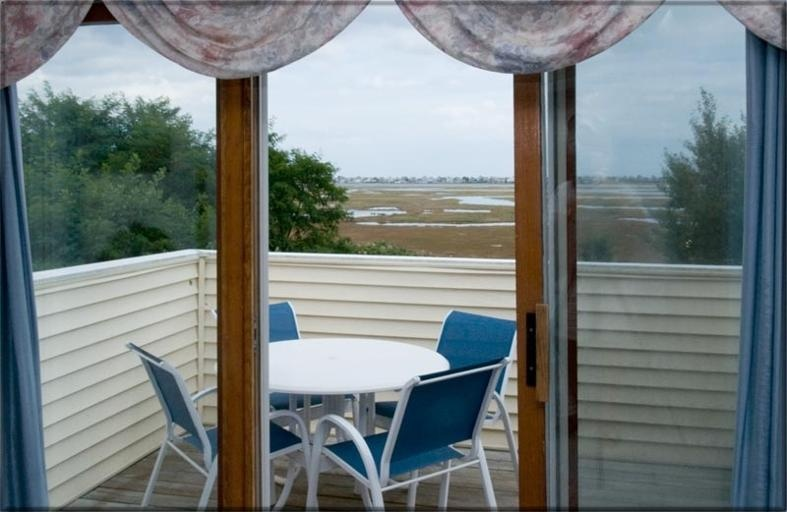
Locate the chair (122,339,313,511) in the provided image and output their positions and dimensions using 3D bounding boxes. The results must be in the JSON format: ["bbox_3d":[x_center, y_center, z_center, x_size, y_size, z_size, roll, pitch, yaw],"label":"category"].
[{"bbox_3d":[-0.894,0.801,3.358,0.887,1.052,0.818,-3,5,-34],"label":"chair"}]

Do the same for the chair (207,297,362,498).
[{"bbox_3d":[-0.609,0.684,3.812,0.904,1.184,0.798,-3,-2,41],"label":"chair"}]
